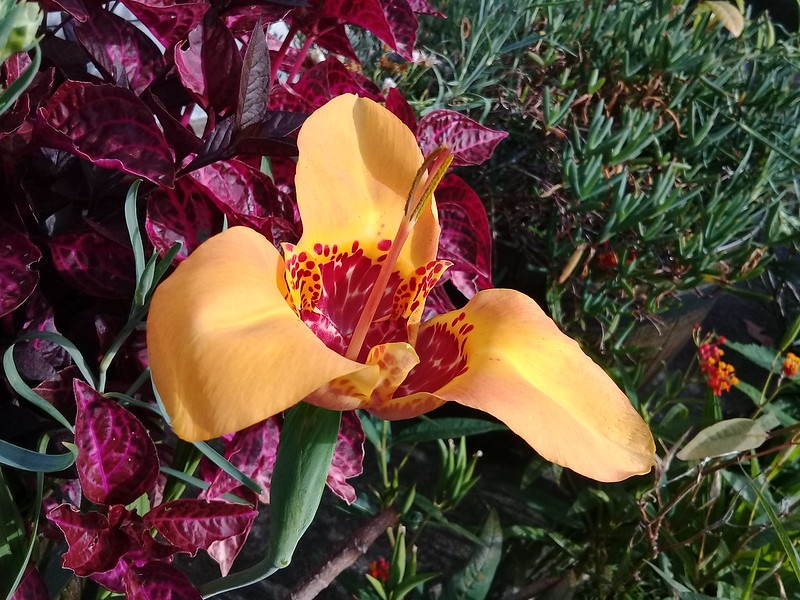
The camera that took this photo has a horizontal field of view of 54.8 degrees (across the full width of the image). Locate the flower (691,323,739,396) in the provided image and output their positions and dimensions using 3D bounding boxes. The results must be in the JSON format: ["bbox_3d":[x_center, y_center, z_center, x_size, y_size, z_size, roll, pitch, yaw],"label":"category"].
[{"bbox_3d":[0.585,0.117,1.444,0.140,0.052,0.092,55,33,-12],"label":"flower"}]
